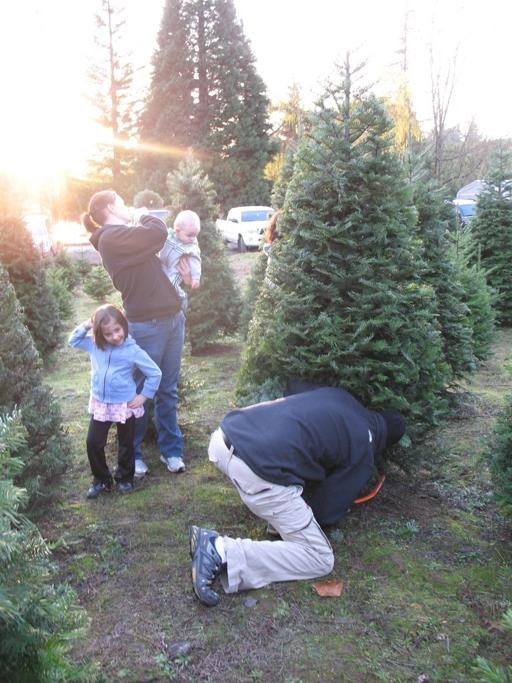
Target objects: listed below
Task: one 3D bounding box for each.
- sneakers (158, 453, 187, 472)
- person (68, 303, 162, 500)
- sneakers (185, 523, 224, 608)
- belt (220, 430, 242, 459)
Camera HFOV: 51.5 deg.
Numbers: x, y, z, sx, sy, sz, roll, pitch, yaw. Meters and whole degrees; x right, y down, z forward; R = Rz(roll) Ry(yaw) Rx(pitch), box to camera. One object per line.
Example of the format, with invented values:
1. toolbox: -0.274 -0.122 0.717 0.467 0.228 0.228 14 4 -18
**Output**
1. sneakers: -0.622 0.935 4.023 0.090 0.084 0.192 1 -4 -36
2. person: -0.934 0.404 3.523 0.541 1.288 0.330 -3 12 -21
3. sneakers: -0.256 1.131 2.661 0.183 0.123 0.385 -6 54 0
4. belt: -0.137 0.553 2.789 0.104 0.026 0.076 48 12 33
